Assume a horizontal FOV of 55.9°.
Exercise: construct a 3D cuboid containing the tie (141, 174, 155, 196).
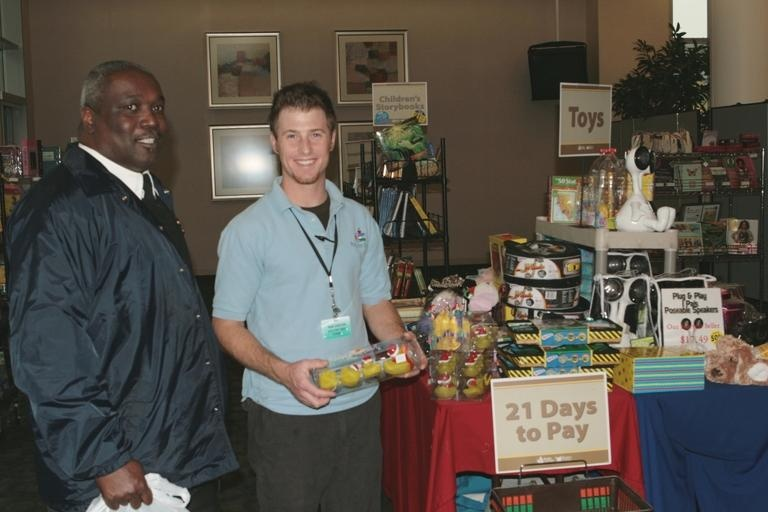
[{"bbox_3d":[-1.128,-0.340,3.466,0.066,0.089,0.031,-1,-3,-27],"label":"tie"}]
